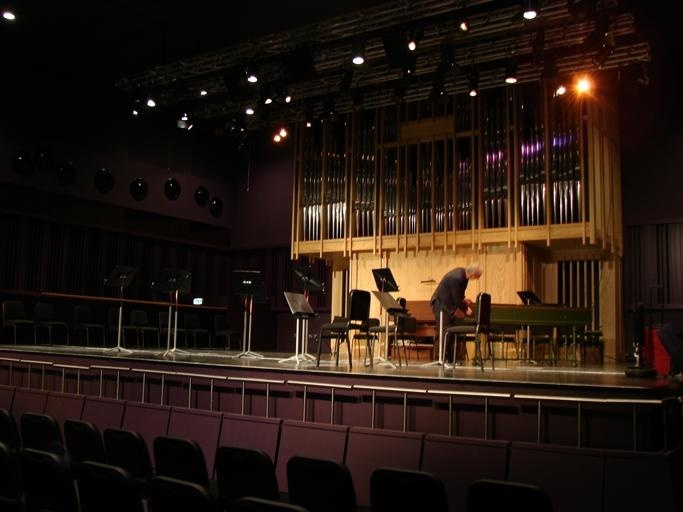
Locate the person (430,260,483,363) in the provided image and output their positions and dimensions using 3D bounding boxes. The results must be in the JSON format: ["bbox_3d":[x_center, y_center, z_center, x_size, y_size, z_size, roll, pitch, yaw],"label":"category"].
[{"bbox_3d":[1.686,0.872,9.728,0.676,1.405,1.880,0,-9,8],"label":"person"}]

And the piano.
[{"bbox_3d":[1.448,0.964,11.475,1.474,1.698,1.026,-1,-3,33],"label":"piano"}]
